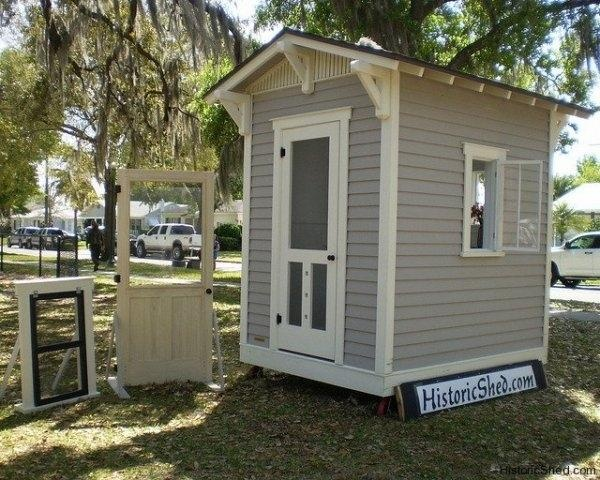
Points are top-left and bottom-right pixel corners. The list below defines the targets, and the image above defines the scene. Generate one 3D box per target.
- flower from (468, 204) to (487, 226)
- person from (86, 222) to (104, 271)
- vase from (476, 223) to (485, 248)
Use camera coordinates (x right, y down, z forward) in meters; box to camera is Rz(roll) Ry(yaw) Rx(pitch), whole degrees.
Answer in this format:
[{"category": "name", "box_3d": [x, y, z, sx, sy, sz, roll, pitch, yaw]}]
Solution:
[{"category": "flower", "box_3d": [2.451, -0.368, 7.486, 0.292, 0.402, 0.287, 2, 5, 34]}, {"category": "person", "box_3d": [-7.540, 0.159, 20.050, 0.537, 1.755, 1.568, 0, 2, -22]}, {"category": "vase", "box_3d": [2.423, -0.048, 7.281, 0.097, 0.314, 0.273, 1, 2, 19]}]
